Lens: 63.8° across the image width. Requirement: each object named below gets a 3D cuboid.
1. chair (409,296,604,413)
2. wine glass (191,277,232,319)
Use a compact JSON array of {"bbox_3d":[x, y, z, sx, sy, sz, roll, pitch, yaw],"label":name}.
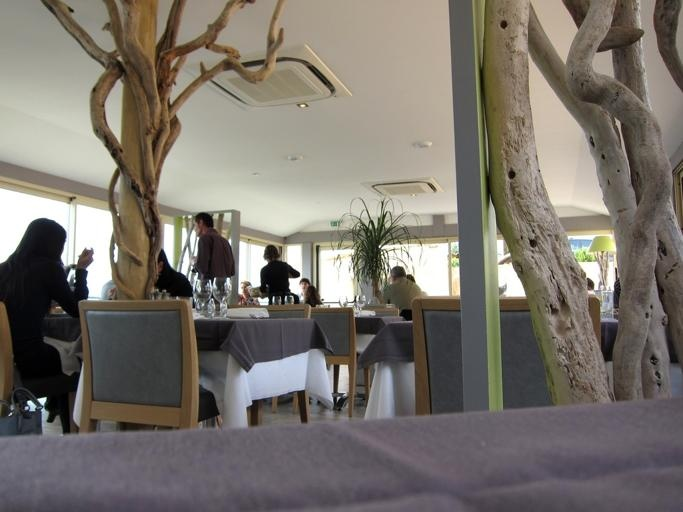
[{"bbox_3d":[0.442,0.275,1.528,0.556,0.347,0.199,-7,-7,40],"label":"chair"},{"bbox_3d":[-0.561,0.185,2.388,0.139,0.189,0.161,0,-6,-5],"label":"wine glass"}]
